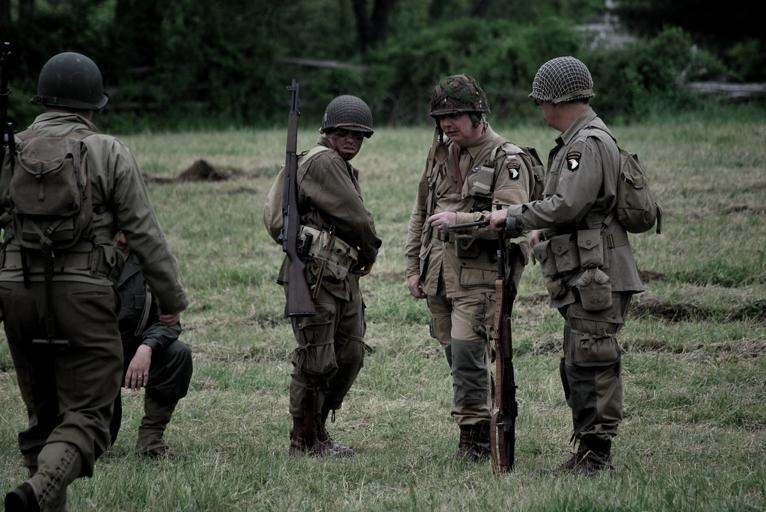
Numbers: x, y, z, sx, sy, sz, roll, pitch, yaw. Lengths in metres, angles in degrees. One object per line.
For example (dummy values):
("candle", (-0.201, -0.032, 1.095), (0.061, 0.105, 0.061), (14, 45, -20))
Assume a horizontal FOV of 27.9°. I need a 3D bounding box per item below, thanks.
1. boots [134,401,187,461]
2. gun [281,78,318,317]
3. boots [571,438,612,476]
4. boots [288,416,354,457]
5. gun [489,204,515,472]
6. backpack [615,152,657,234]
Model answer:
("boots", (-2.790, 2.164, 19.160), (0.699, 0.662, 0.452), (1, -1, 3))
("gun", (-1.077, -0.697, 19.027), (0.379, 2.796, 0.828), (-1, 8, -9))
("boots", (2.523, 2.396, 18.682), (0.561, 0.566, 0.396), (1, -6, -6))
("boots", (-0.699, 2.275, 19.529), (0.991, 0.680, 0.353), (-1, -3, -8))
("gun", (1.410, 1.220, 18.616), (0.536, 2.387, 0.560), (0, 1, -4))
("backpack", (3.002, -0.701, 18.710), (0.433, 1.010, 0.686), (1, -5, -15))
